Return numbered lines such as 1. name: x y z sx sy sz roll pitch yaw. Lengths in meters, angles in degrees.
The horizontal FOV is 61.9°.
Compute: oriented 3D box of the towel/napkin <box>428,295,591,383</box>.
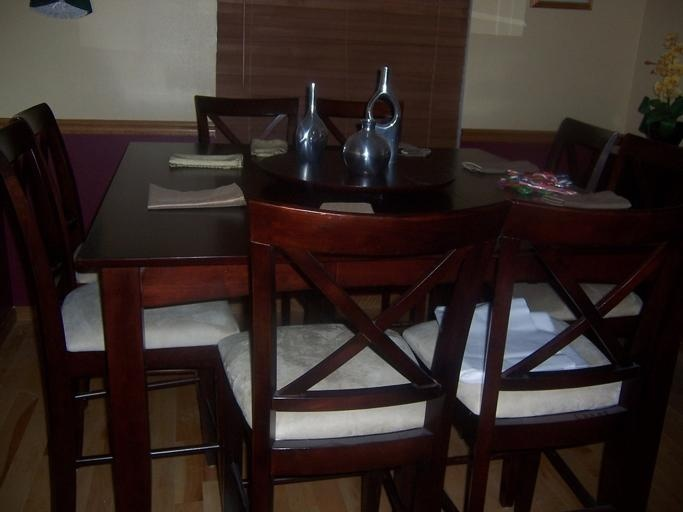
1. towel/napkin: 0.474 0.233 1.571 0.251 0.109 0.252 -3 24 -5
